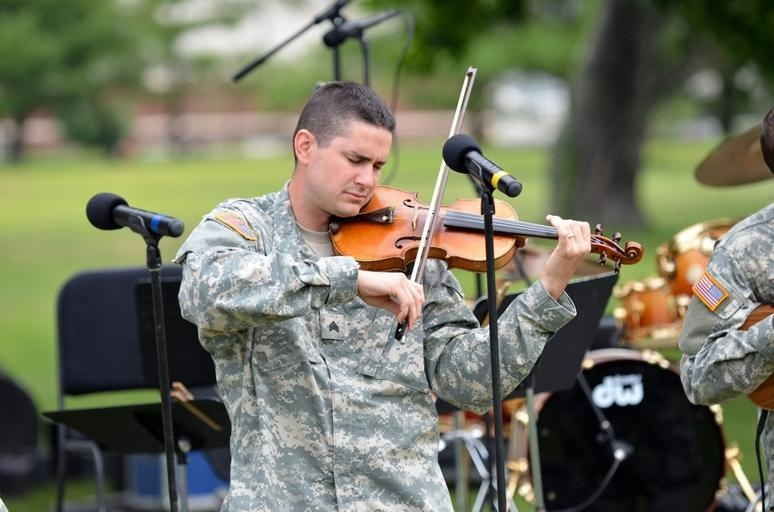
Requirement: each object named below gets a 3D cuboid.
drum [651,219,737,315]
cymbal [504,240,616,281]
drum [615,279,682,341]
[{"bbox_3d":[3.314,0.115,16.528,0.918,0.838,0.904,-2,-10,-41],"label":"drum"},{"bbox_3d":[1.641,0.053,16.101,1.074,0.406,0.867,-5,24,-7],"label":"cymbal"},{"bbox_3d":[2.648,0.572,16.269,0.734,0.578,0.457,1,-26,2],"label":"drum"}]
